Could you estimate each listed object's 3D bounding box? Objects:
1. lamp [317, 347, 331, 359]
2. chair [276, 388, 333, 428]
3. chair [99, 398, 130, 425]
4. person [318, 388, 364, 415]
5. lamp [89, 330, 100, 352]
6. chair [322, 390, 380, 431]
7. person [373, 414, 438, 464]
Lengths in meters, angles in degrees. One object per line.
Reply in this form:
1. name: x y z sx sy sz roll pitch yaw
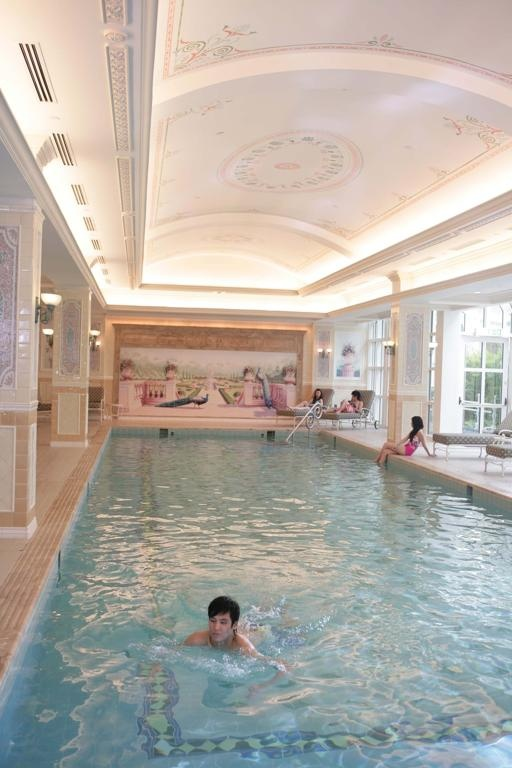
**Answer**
1. lamp: 2.383 -1.109 18.135 0.419 0.367 0.147 0 -1 8
2. chair: 1.776 0.761 16.291 1.600 1.095 1.121 1 -5 -30
3. chair: -4.580 0.799 16.609 0.960 0.701 1.800 1 -1 -14
4. person: 2.762 0.576 16.057 1.399 0.769 0.617 -5 -2 -24
5. lamp: -4.857 -1.414 15.437 0.276 0.679 2.776 1 -1 -17
6. chair: 2.888 0.826 16.263 1.741 1.068 1.225 3 -5 -38
7. person: 3.008 1.187 10.684 1.274 1.244 0.399 6 14 9
